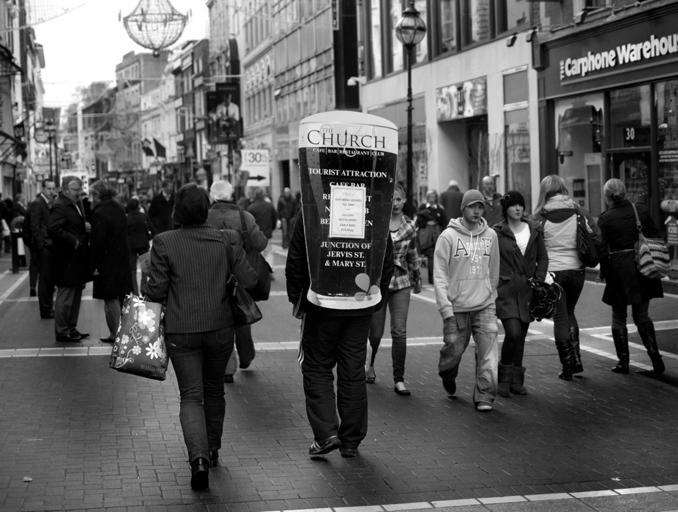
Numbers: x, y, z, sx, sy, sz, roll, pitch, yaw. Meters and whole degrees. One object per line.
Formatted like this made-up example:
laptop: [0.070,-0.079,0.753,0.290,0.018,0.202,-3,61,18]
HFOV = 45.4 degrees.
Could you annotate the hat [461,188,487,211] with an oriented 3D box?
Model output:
hat: [1.379,-0.597,8.345,0.189,0.198,0.225,4,10,-15]

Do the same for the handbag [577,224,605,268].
handbag: [2.934,-0.136,9.409,0.445,0.540,0.214,-4,5,-45]

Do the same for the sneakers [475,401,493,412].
sneakers: [1.452,1.501,8.113,0.171,0.090,0.153,1,4,11]

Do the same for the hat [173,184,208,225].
hat: [-1.134,-0.393,6.330,0.220,0.317,0.324,1,19,-5]

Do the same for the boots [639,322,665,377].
boots: [3.628,1.095,9.457,0.216,0.688,0.188,-11,-35,20]

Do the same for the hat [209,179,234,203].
hat: [-1.335,-0.738,9.181,0.180,0.274,0.259,0,10,-6]

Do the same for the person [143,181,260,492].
person: [-1.056,0.744,6.178,0.833,1.905,0.514,-1,3,-14]

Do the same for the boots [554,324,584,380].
boots: [2.720,1.131,9.554,0.267,0.571,0.592,1,4,22]

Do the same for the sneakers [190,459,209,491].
sneakers: [-1.022,1.599,5.980,0.130,0.222,0.135,-1,4,-15]

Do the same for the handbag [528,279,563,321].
handbag: [2.235,0.443,8.853,0.307,0.467,0.168,5,2,5]

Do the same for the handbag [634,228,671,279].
handbag: [3.678,0.001,9.528,0.370,0.530,0.252,1,4,22]

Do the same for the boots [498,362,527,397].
boots: [1.864,1.323,8.879,0.328,0.369,0.293,4,-6,-35]

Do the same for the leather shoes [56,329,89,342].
leather shoes: [-3.938,1.188,12.005,0.450,0.229,0.167,-6,18,-14]

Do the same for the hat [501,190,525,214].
hat: [1.917,-0.605,8.948,0.182,0.248,0.236,0,3,-18]

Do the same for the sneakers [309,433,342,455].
sneakers: [-0.111,1.556,6.679,0.259,0.219,0.244,-1,4,-5]

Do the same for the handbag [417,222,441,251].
handbag: [1.619,-0.350,14.735,0.287,0.619,0.420,10,2,32]

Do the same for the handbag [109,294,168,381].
handbag: [-1.522,0.619,6.169,0.460,0.616,0.209,1,3,18]

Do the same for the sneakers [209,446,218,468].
sneakers: [-0.998,1.613,6.498,0.048,0.174,0.108,0,4,-4]
